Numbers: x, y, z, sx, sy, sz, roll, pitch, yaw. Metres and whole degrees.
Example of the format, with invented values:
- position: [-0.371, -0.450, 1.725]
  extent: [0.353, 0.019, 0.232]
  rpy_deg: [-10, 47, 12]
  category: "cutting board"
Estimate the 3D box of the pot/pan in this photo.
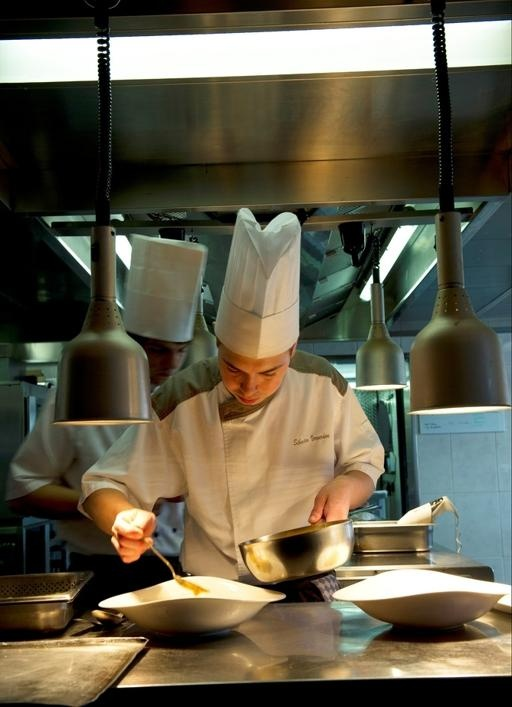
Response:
- position: [0.074, 0.385, 1.225]
  extent: [0.191, 0.430, 0.111]
  rpy_deg: [-15, 76, -7]
  category: "pot/pan"

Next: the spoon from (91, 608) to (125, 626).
- position: [-0.253, 0.450, 1.101]
  extent: [0.039, 0.030, 0.014]
  rpy_deg: [5, 74, 9]
  category: "spoon"

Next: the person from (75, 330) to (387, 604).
- position: [-0.025, 0.240, 1.596]
  extent: [0.915, 0.496, 0.635]
  rpy_deg: [-1, 84, -2]
  category: "person"
